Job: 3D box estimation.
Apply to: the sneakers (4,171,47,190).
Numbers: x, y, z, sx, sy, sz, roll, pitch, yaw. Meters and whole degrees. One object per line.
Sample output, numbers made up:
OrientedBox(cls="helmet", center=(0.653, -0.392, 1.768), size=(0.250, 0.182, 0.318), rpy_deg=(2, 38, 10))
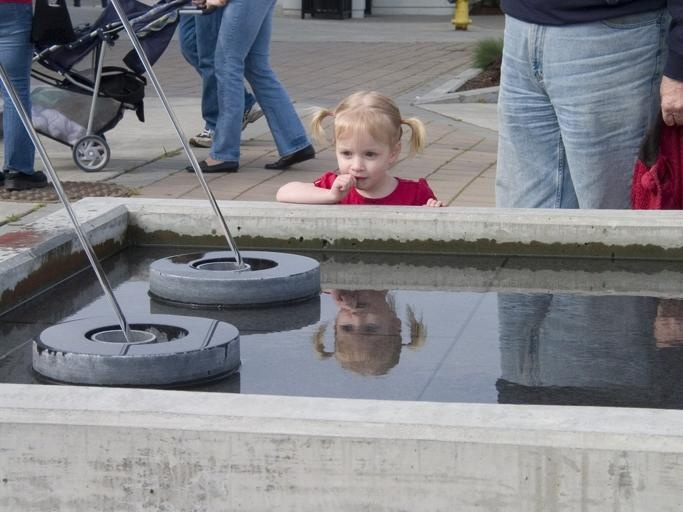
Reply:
OrientedBox(cls="sneakers", center=(-1.820, -0.442, 7.662), size=(0.269, 0.102, 0.099), rpy_deg=(-11, 15, -43))

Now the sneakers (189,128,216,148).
OrientedBox(cls="sneakers", center=(-0.968, -0.834, 9.315), size=(0.136, 0.126, 0.325), rpy_deg=(12, 11, 31))

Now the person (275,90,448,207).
OrientedBox(cls="person", center=(0.072, -0.443, 5.693), size=(0.690, 0.494, 0.733), rpy_deg=(-2, 19, 3))
